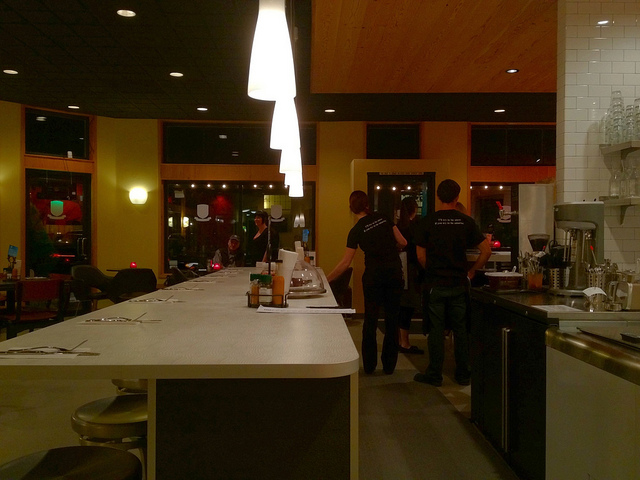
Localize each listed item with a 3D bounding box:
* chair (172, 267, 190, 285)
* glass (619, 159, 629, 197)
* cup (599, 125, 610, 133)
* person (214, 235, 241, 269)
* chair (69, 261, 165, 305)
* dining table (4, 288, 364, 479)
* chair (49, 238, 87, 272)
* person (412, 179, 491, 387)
[{"bbox_3d":[-1.694,0.444,6.525,0.194,0.274,0.180,0,1,-14],"label":"chair"},{"bbox_3d":[2.226,-0.454,3.922,0.059,0.272,0.161,3,7,30],"label":"glass"},{"bbox_3d":[2.123,-0.831,4.000,0.028,0.068,0.162,1,7,13],"label":"cup"},{"bbox_3d":[-1.320,0.204,7.644,0.367,0.508,1.027,-2,7,-9],"label":"person"},{"bbox_3d":[-2.567,0.563,6.920,0.816,0.611,0.599,-17,10,-34],"label":"chair"},{"bbox_3d":[-0.607,0.666,2.840,1.546,0.529,1.301,-1,7,-1],"label":"dining table"},{"bbox_3d":[-4.184,0.275,9.169,0.574,0.691,0.355,2,-3,-8],"label":"chair"},{"bbox_3d":[1.164,0.540,4.821,0.641,1.610,0.349,0,6,8],"label":"person"}]
